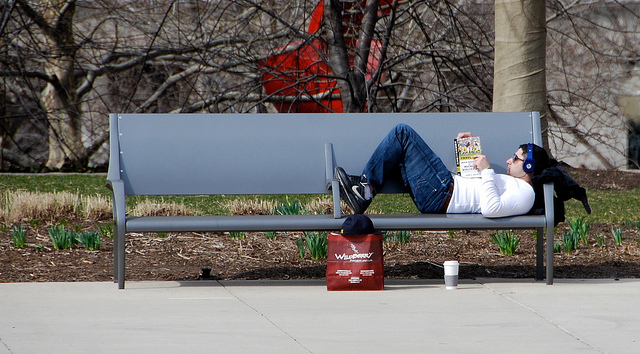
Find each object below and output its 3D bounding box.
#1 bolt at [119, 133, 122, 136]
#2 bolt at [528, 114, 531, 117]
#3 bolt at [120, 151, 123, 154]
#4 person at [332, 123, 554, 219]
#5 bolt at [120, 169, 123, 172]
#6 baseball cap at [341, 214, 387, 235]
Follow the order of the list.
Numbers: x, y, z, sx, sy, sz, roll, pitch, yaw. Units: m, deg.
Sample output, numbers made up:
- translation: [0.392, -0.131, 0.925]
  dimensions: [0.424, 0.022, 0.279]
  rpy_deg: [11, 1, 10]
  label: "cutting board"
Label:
- translation: [-3.309, -0.728, 16.697]
  dimensions: [0.067, 0.041, 0.015]
  rpy_deg: [3, 4, -6]
  label: "bolt"
- translation: [3.525, -1.051, 16.958]
  dimensions: [0.045, 0.040, 0.010]
  rpy_deg: [-3, -1, 25]
  label: "bolt"
- translation: [-3.294, -0.427, 16.675]
  dimensions: [0.061, 0.038, 0.013]
  rpy_deg: [2, 4, -6]
  label: "bolt"
- translation: [2.101, -0.137, 16.567]
  dimensions: [3.383, 1.457, 0.769]
  rpy_deg: [-3, -1, 3]
  label: "person"
- translation: [-3.289, -0.128, 16.646]
  dimensions: [0.059, 0.037, 0.027]
  rpy_deg: [-2, -10, -5]
  label: "bolt"
- translation: [0.616, 0.740, 16.061]
  dimensions: [0.525, 0.170, 0.328]
  rpy_deg: [0, 3, -22]
  label: "baseball cap"
